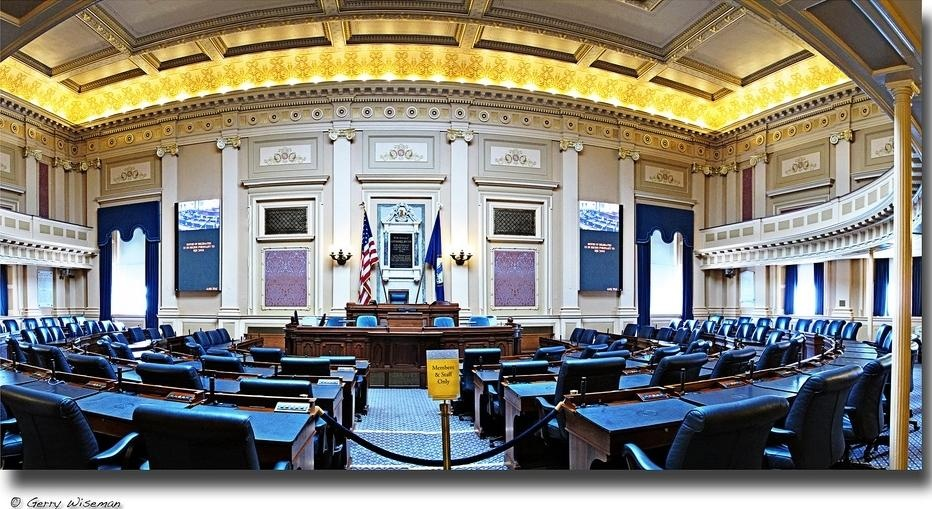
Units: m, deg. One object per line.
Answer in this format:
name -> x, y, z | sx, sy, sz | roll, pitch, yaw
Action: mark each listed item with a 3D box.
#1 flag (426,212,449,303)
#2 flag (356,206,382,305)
flag -> -0.930, 0.014, 19.238 | 0.637, 2.908, 0.545 | -7, -10, 41
flag -> -3.066, -0.080, 18.940 | 0.569, 3.219, 0.789 | 1, -8, -8
